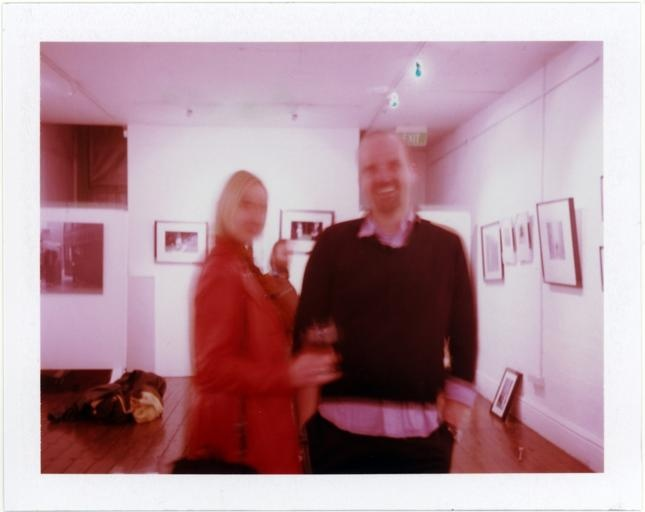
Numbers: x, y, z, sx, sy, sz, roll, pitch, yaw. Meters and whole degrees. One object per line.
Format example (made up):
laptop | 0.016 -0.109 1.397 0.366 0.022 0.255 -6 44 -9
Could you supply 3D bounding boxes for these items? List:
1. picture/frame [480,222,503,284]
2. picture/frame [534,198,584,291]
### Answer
picture/frame | 0.929 -0.019 2.722 0.113 0.314 0.015 -4 0 41
picture/frame | 1.354 -0.064 2.881 0.187 0.487 0.051 -3 -22 21
